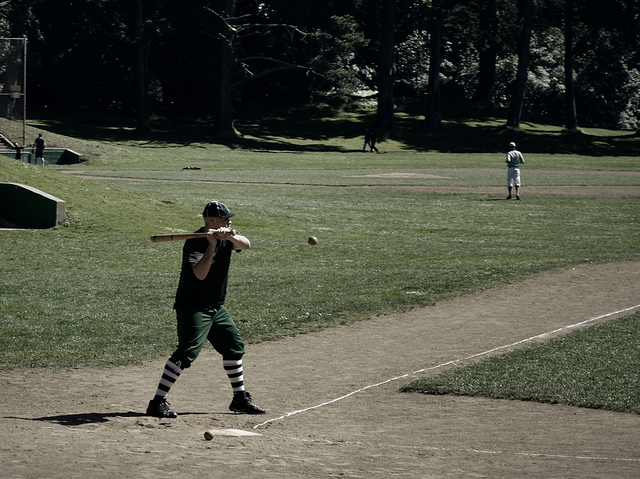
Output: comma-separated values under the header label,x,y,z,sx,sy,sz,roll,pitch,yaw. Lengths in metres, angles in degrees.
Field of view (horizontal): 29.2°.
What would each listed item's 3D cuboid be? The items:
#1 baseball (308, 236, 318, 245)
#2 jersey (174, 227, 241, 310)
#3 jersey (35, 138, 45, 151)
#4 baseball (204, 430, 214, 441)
label,x,y,z,sx,sy,sz,roll,pitch,yaw
baseball,-0.224,0.039,35.757,0.246,0.218,0.227,-33,62,-16
jersey,-2.842,0.837,30.241,1.300,1.780,0.364,3,7,-3
jersey,-13.749,-4.670,60.609,0.347,0.613,0.397,1,7,-21
baseball,-2.664,4.734,29.550,0.251,0.160,0.221,5,-3,19
